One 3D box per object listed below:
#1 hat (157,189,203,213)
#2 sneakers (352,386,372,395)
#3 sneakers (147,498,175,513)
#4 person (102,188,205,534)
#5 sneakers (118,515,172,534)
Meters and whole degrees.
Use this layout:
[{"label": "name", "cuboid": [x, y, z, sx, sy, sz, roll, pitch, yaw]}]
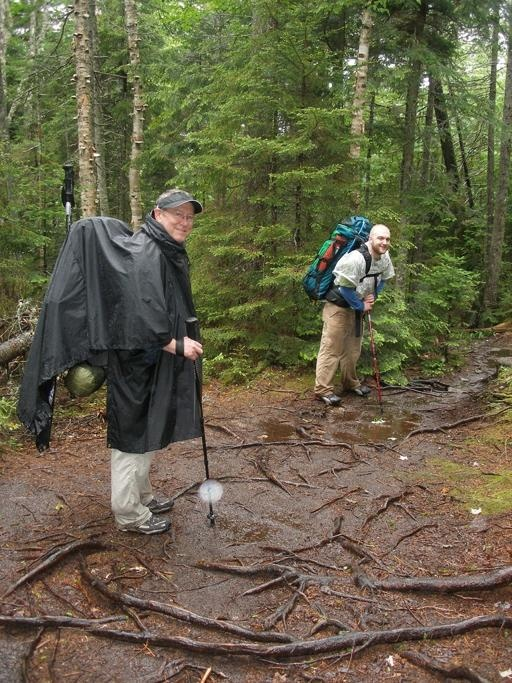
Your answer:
[{"label": "hat", "cuboid": [-0.555, -0.999, 4.599, 0.252, 0.114, 0.194, -1, 2, 45]}, {"label": "sneakers", "cuboid": [1.372, 0.650, 8.599, 0.102, 0.111, 0.256, 7, -5, -44]}, {"label": "sneakers", "cuboid": [-0.774, 1.334, 5.316, 0.233, 0.088, 0.085, -2, 7, -15]}, {"label": "person", "cuboid": [-0.712, 0.198, 4.751, 0.616, 2.590, 0.719, 8, 10, 30]}, {"label": "sneakers", "cuboid": [-0.843, 1.393, 4.966, 0.385, 0.157, 0.139, 0, -1, -5]}]
